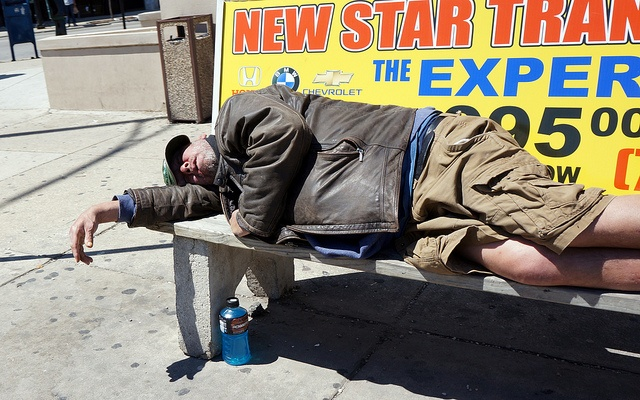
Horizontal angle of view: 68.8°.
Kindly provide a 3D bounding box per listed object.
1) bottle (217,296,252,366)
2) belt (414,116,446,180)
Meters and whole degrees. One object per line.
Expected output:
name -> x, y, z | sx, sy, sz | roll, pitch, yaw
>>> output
bottle -> -0.583, 0.889, 3.181 | 0.194, 0.434, 0.201 | -2, 18, 1
belt -> 0.692, -0.317, 2.955 | 0.268, 0.343, 0.093 | 6, -9, 40
